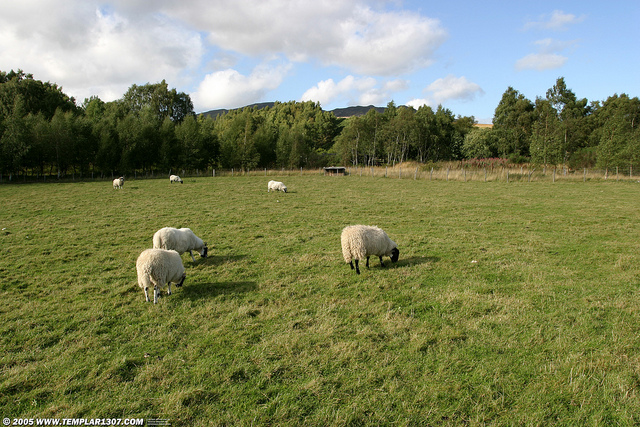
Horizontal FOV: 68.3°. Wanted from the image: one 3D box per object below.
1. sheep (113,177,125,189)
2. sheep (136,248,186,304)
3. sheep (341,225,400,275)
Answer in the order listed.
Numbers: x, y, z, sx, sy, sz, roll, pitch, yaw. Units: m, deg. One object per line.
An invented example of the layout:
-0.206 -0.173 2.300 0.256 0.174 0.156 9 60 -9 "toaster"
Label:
-19.090 -2.831 44.680 0.757 0.825 0.962 -3 7 -32 "sheep"
-6.981 2.760 21.136 1.373 2.147 3.136 -2 -3 9 "sheep"
2.477 1.775 22.648 3.309 2.225 1.430 2 -3 -40 "sheep"
